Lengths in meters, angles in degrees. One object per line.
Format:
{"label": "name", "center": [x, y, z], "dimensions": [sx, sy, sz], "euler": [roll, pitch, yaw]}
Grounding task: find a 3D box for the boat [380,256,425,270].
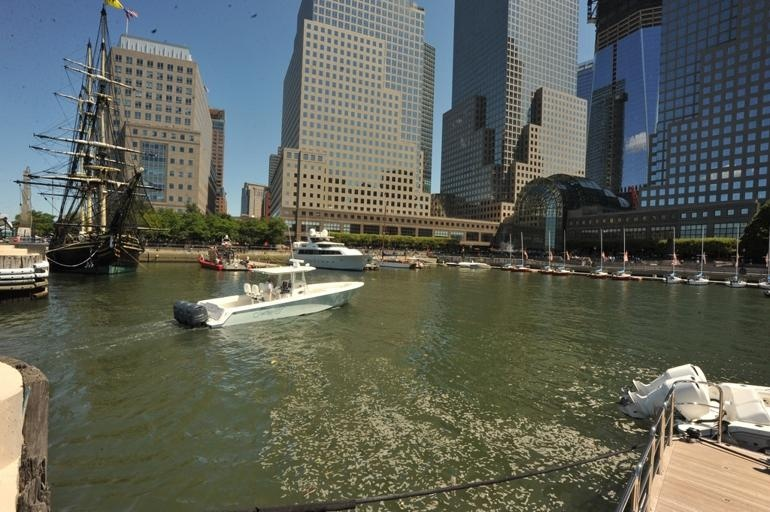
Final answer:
{"label": "boat", "center": [4.055, 1.897, 142.275], "dimensions": [10.834, 2.374, 16.429], "euler": [2, 2, -2]}
